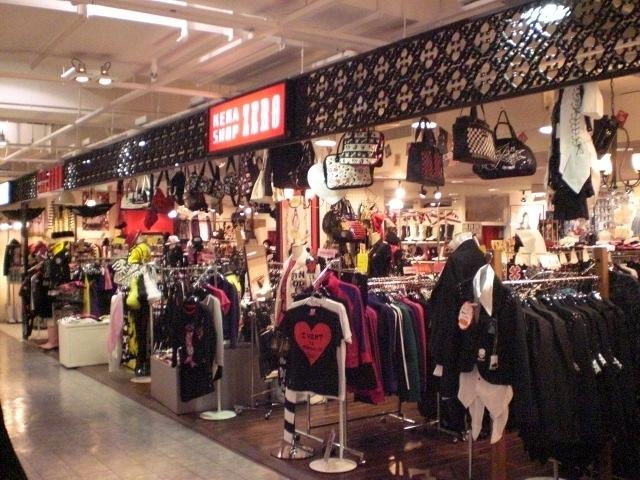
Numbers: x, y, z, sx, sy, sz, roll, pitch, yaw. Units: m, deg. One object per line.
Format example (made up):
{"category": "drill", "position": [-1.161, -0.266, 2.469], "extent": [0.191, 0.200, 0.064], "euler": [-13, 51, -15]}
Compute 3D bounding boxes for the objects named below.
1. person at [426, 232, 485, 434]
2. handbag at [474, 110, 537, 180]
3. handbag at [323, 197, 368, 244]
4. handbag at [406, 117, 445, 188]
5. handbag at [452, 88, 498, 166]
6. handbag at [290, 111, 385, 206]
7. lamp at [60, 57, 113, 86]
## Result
{"category": "person", "position": [1.211, 0.876, 4.668], "extent": [0.457, 1.877, 1.219], "euler": [-1, -1, 12]}
{"category": "handbag", "position": [1.891, -0.985, 5.371], "extent": [0.572, 0.779, 0.223], "euler": [-3, -16, 33]}
{"category": "handbag", "position": [0.386, -0.276, 8.341], "extent": [0.758, 0.882, 0.493], "euler": [5, -6, -34]}
{"category": "handbag", "position": [1.096, -0.944, 5.532], "extent": [0.335, 0.712, 0.441], "euler": [-1, -1, 35]}
{"category": "handbag", "position": [1.364, -0.934, 4.632], "extent": [0.441, 0.464, 0.247], "euler": [0, -1, -33]}
{"category": "handbag", "position": [0.130, -0.906, 5.787], "extent": [1.073, 1.241, 0.461], "euler": [4, 16, 0]}
{"category": "lamp", "position": [-2.456, -1.793, 5.497], "extent": [0.405, 0.200, 0.396], "euler": [-2, 2, -34]}
